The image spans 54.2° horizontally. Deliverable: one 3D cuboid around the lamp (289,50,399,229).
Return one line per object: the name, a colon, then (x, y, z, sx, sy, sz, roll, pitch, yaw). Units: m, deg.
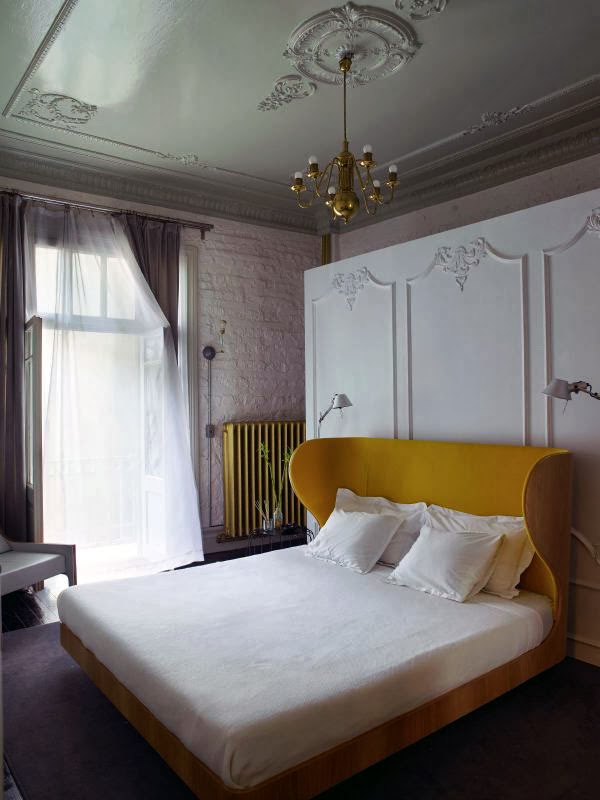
lamp: (0.250, -1.408, 3.103, 0.396, 0.985, 0.502, 2, -7, -19)

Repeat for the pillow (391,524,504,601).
pillow: (0.711, 0.829, 2.847, 0.469, 0.187, 0.535, -4, 4, 38)

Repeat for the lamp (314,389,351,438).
lamp: (0.257, 0.102, 4.207, 0.171, 0.314, 0.522, 0, -1, -12)

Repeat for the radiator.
radiator: (-0.345, 0.703, 5.196, 0.884, 1.170, 0.133, 1, 0, -38)
